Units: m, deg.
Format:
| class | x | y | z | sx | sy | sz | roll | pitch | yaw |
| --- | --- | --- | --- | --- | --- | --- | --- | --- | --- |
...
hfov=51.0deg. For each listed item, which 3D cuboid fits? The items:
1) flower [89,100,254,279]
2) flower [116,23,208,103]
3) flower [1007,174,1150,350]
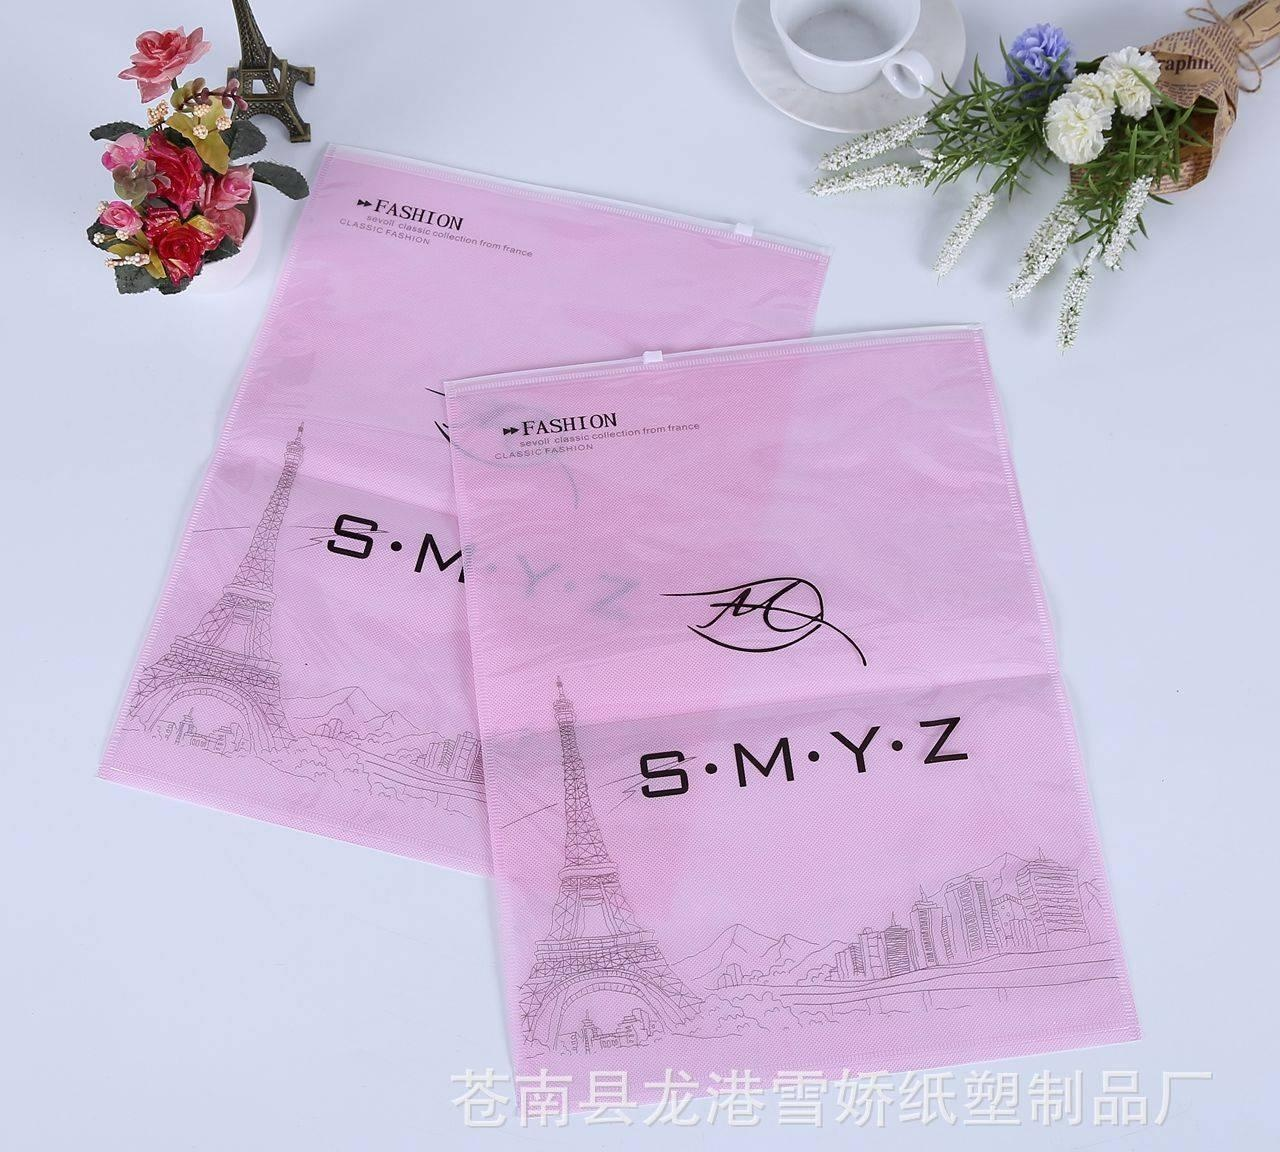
| class | x | y | z | sx | sy | sz | roll | pitch | yaw |
| --- | --- | --- | --- | --- | --- | --- | --- | --- | --- |
| flower | -0.286 | -0.237 | 0.820 | 0.096 | 0.121 | 0.083 | -4 | -6 | -16 |
| flower | -0.280 | -0.307 | 0.804 | 0.037 | 0.038 | 0.018 | 23 | -48 | -7 |
| flower | 0.277 | -0.189 | 0.861 | 0.071 | 0.117 | 0.033 | 35 | 18 | 23 |
